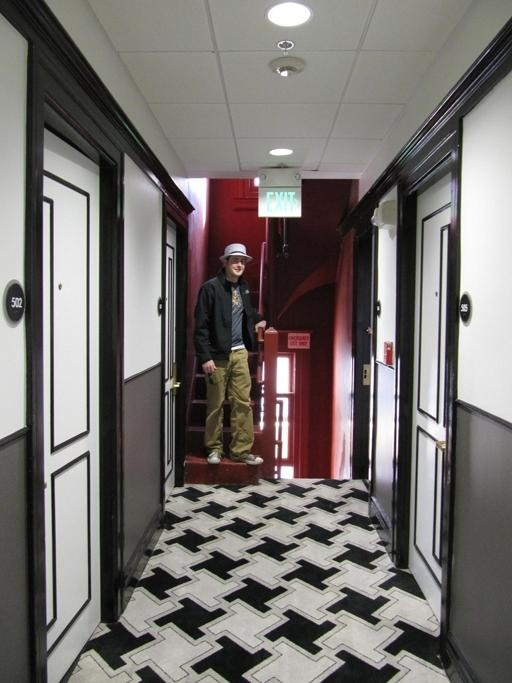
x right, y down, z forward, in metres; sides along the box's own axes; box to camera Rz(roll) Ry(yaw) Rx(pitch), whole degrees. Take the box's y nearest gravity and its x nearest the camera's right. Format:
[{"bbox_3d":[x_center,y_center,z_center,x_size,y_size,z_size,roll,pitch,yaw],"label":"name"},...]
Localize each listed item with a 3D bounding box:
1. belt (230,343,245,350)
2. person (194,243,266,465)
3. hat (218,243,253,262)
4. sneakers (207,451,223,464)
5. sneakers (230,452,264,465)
[{"bbox_3d":[-0.154,0.040,3.975,0.068,0.034,0.055,-2,8,37],"label":"belt"},{"bbox_3d":[-0.244,0.102,3.950,0.529,1.815,0.419,0,-1,-1],"label":"person"},{"bbox_3d":[-0.178,-0.835,4.048,0.256,0.211,0.355,1,0,0],"label":"hat"},{"bbox_3d":[-0.347,0.962,3.872,0.119,0.099,0.131,1,-1,-8],"label":"sneakers"},{"bbox_3d":[-0.084,0.964,3.835,0.211,0.123,0.107,2,-1,11],"label":"sneakers"}]
